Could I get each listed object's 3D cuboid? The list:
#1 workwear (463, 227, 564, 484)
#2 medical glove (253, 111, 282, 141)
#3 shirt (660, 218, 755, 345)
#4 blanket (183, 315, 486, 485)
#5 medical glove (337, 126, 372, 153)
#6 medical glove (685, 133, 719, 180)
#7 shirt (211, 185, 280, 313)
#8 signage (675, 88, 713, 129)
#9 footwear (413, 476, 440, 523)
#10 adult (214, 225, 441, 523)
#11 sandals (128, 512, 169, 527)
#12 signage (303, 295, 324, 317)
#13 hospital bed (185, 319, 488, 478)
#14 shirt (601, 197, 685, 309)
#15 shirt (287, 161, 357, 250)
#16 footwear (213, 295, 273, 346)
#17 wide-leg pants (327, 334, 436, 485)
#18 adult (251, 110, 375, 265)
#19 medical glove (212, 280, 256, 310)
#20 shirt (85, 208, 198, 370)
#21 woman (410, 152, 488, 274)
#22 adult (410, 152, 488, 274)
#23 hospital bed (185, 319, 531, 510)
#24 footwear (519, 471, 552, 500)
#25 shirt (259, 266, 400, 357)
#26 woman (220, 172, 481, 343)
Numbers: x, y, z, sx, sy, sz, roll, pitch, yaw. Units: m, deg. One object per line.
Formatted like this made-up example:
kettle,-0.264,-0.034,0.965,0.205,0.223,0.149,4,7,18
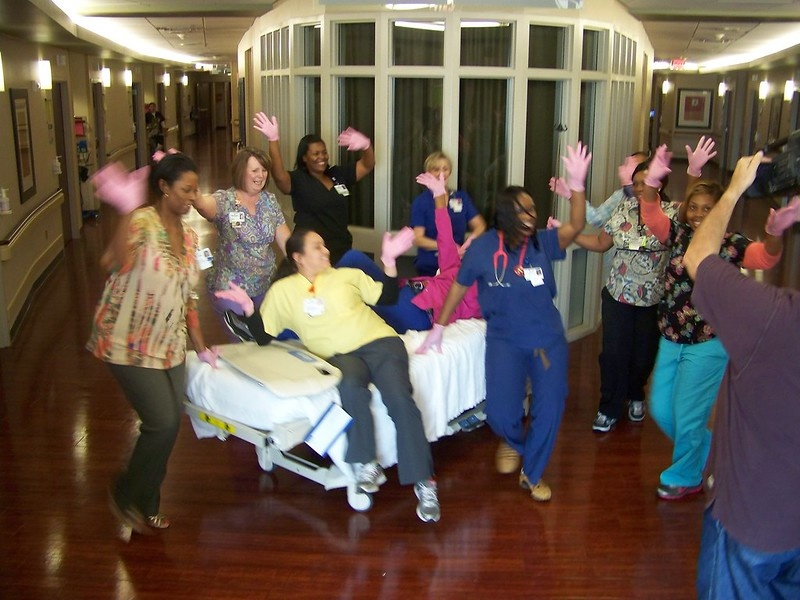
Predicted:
workwear,0.779,0.219,3.671,0.576,1.906,0.426,5,22,33
medical glove,-1.118,-1.436,4.838,0.166,0.227,0.414,-6,15,-14
shirt,1.893,-0.111,3.500,0.250,0.768,0.624,-29,25,-23
blanket,-0.173,0.548,3.609,1.590,0.454,0.965,-25,34,-33
medical glove,-0.394,-1.374,4.997,0.238,0.219,0.079,23,8,2
medical glove,2.099,-0.989,4.019,0.184,0.313,0.091,22,-13,28
shirt,-1.070,-0.361,4.087,0.589,0.787,0.327,-7,15,-32
signage,13.477,-8.783,26.337,1.736,2.264,0.159,1,11,4
footwear,0.168,1.138,3.442,0.146,0.260,0.220,-2,14,2
adult,-0.363,0.221,3.379,1.233,0.844,1.856,-12,46,-29
sandals,-1.412,1.222,3.225,0.161,0.051,0.112,28,-1,-44
signage,-0.511,0.038,3.443,0.121,0.119,0.047,-5,14,-9
hospital bed,-0.167,0.546,3.611,1.585,0.444,0.943,-22,31,-36
shirt,1.736,-0.365,4.145,0.545,0.789,0.314,3,21,21
shirt,-0.638,-0.738,4.809,0.562,0.768,0.391,-8,14,-25
footwear,-1.035,0.125,3.839,0.133,0.415,0.252,-37,54,-5
wide-leg pants,-0.089,0.611,3.456,0.459,0.910,0.274,-8,-12,-2
adult,-0.666,-0.481,4.836,0.940,1.890,0.444,-7,14,-27
medical glove,-1.094,-0.042,3.823,0.268,0.090,0.163,18,-28,-34
shirt,-1.298,-0.044,2.942,0.590,0.815,0.257,-12,16,-32
woman,0.391,-0.694,4.556,0.462,1.167,0.471,-30,37,-21
adult,0.379,-0.376,4.800,0.617,1.629,0.619,-3,28,2
hospital bed,-0.163,0.412,3.680,0.988,0.497,1.711,11,19,36
footwear,0.852,1.166,3.629,0.109,0.085,0.194,-20,24,-39
shirt,-0.449,0.059,3.496,0.664,0.247,0.578,45,64,10
woman,-0.327,-0.307,4.084,1.144,0.822,0.647,-10,20,-16
